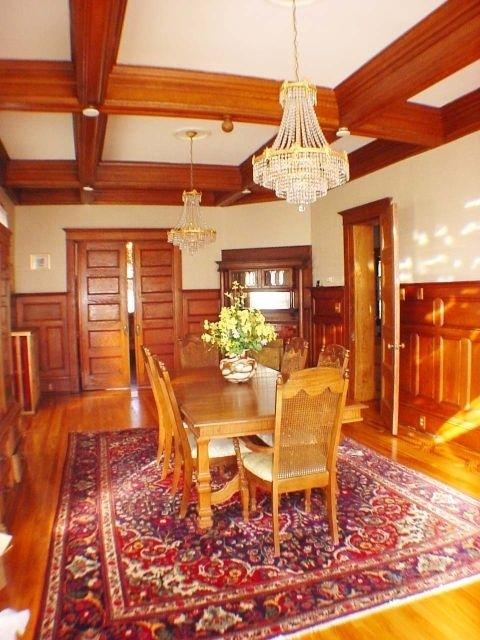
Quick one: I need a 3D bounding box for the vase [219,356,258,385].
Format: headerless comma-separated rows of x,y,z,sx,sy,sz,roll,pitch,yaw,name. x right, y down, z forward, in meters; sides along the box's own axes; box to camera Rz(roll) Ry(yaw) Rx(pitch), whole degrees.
-0.001,0.360,3.511,0.204,0.184,0.234,-7,11,-31,vase

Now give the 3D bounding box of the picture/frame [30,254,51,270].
-3.102,-0.882,7.049,0.236,0.238,0.026,0,1,-18,picture/frame

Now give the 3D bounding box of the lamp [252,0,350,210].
0.357,-1.097,2.743,0.563,0.678,0.526,-1,1,13,lamp
